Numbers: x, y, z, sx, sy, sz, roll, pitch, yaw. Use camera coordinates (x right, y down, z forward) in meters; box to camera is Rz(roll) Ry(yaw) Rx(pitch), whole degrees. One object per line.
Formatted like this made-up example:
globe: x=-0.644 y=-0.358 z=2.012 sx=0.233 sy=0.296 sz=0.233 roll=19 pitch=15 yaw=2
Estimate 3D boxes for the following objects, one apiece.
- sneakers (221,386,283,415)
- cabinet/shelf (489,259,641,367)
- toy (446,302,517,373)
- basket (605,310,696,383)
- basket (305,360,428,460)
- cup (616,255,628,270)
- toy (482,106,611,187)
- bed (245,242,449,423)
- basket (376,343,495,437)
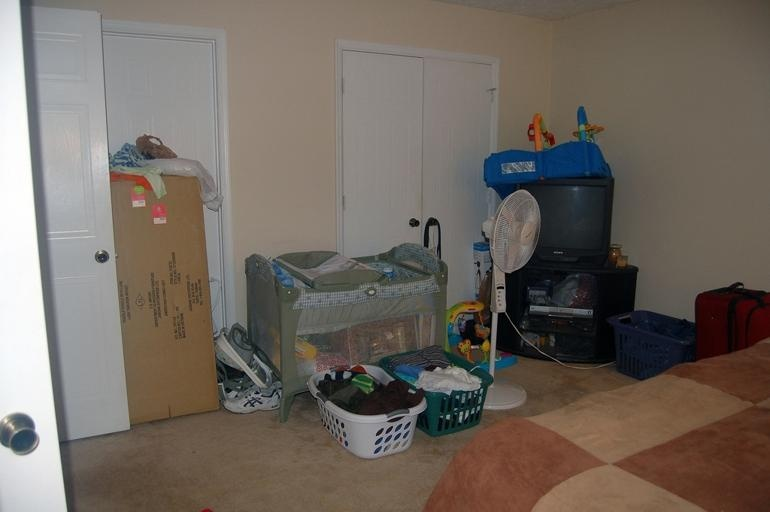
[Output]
sneakers: x=-0.926 y=1.024 z=4.221 sx=0.283 sy=0.106 sz=0.204 roll=-1 pitch=7 yaw=-16
cabinet/shelf: x=1.568 y=0.506 z=5.087 sx=1.053 sy=0.744 sz=0.604 roll=1 pitch=-15 yaw=31
toy: x=0.740 y=0.653 z=5.048 sx=0.412 sy=0.401 sz=0.612 roll=-5 pitch=5 yaw=-34
basket: x=2.073 y=0.654 z=4.591 sx=0.425 sy=0.394 sz=0.598 roll=-14 pitch=13 yaw=-40
basket: x=-0.158 y=0.963 z=3.755 sx=0.467 sy=0.272 sz=0.631 roll=-7 pitch=17 yaw=-28
cup: x=1.955 y=0.063 z=4.905 sx=0.081 sy=0.039 sz=0.108 roll=0 pitch=56 yaw=28
toy: x=1.371 y=-0.921 z=5.062 sx=0.787 sy=0.501 sz=0.312 roll=-2 pitch=16 yaw=33
bed: x=-0.320 y=0.390 z=4.464 sx=1.481 sy=1.129 sz=1.166 roll=-6 pitch=12 yaw=-32
basket: x=0.355 y=0.902 z=4.024 sx=0.486 sy=0.269 sz=0.627 roll=-4 pitch=4 yaw=-27
